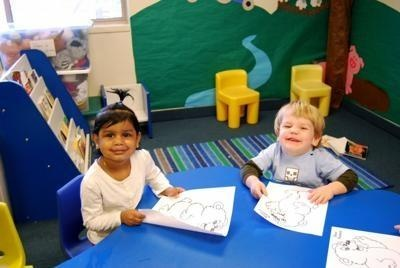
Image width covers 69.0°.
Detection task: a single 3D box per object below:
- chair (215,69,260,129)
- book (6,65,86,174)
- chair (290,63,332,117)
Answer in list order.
[{"bbox_3d":[0.499,-0.484,3.865,0.573,0.642,0.595,10,26,25],"label":"chair"},{"bbox_3d":[-1.374,-0.121,2.551,0.309,0.764,0.787,-21,39,-7],"label":"book"},{"bbox_3d":[1.506,-0.594,3.969,0.475,0.597,0.481,-2,24,2],"label":"chair"}]
